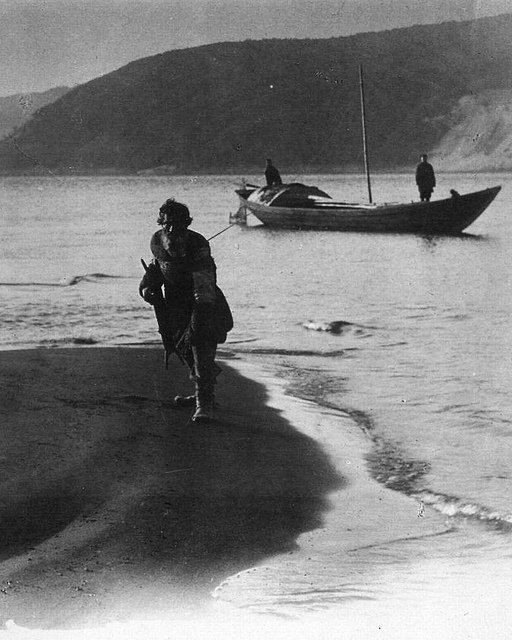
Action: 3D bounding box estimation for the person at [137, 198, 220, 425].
[{"bbox_3d":[-0.534,-0.107,8.667,0.700,1.551,1.226,6,8,-3],"label":"person"}]

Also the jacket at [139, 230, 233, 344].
[{"bbox_3d":[-0.511,-0.288,8.713,0.414,0.845,0.842,-12,22,-39],"label":"jacket"}]
